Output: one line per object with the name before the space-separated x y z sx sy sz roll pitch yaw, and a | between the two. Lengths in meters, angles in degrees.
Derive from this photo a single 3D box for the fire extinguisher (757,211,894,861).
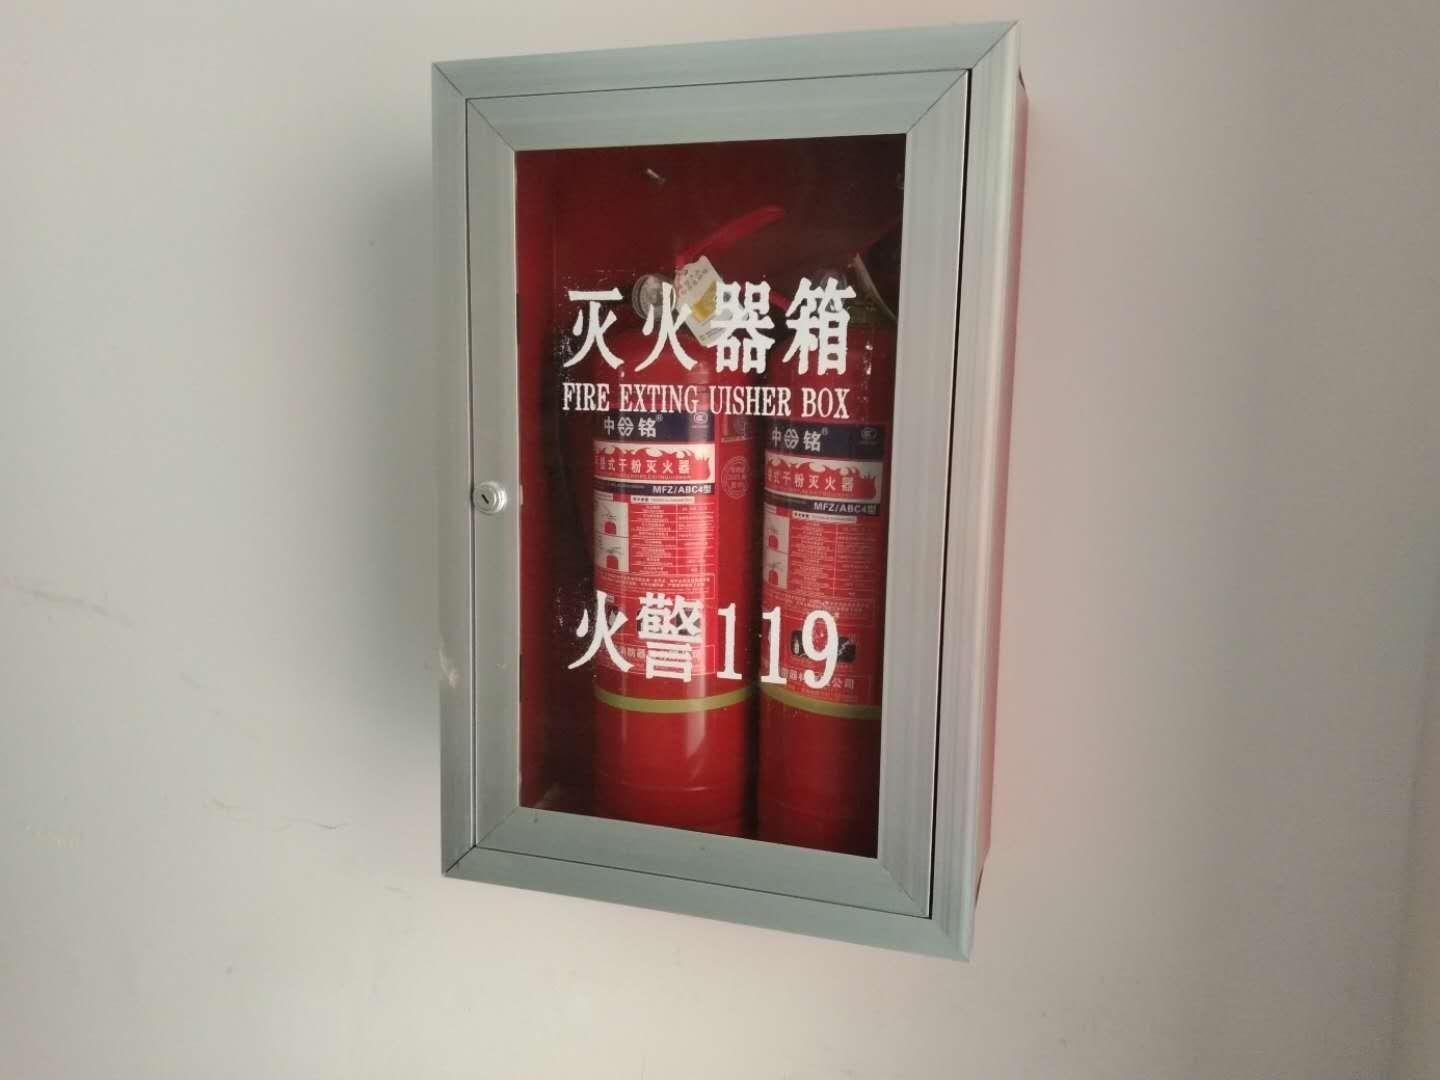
fire extinguisher | 0.087 0.012 1.087 0.108 0.500 0.054 1 0 13
